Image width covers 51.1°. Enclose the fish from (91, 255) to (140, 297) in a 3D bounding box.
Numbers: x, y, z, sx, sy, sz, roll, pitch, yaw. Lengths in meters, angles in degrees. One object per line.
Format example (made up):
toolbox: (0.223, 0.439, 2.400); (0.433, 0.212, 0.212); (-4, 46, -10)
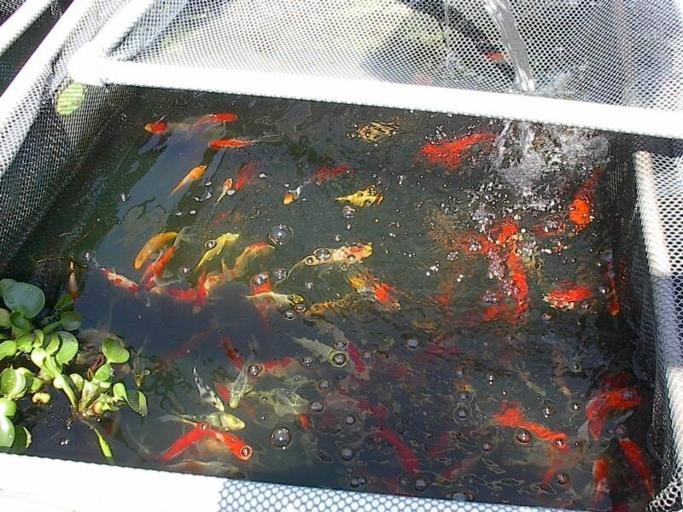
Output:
fish: (-1.173, 0.115, 3.710); (0.207, 0.043, 0.096); (35, 51, 5)
